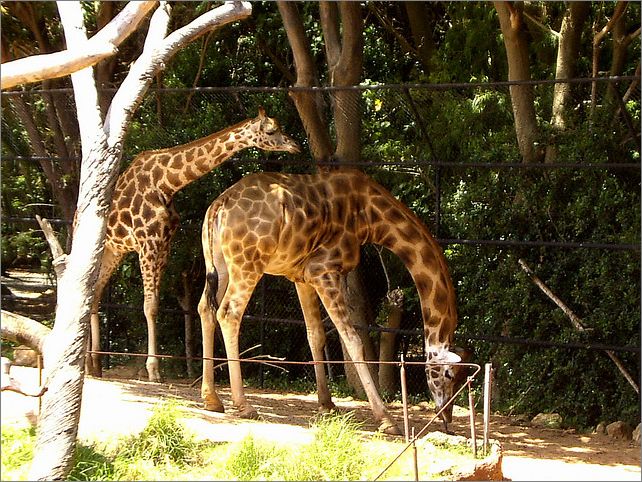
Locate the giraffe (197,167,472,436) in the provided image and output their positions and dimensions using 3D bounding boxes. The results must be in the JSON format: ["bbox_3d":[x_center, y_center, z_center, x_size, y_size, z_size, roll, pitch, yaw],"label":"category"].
[{"bbox_3d":[0.205,0.567,7.551,2.723,2.698,0.885,5,3,-10],"label":"giraffe"}]
